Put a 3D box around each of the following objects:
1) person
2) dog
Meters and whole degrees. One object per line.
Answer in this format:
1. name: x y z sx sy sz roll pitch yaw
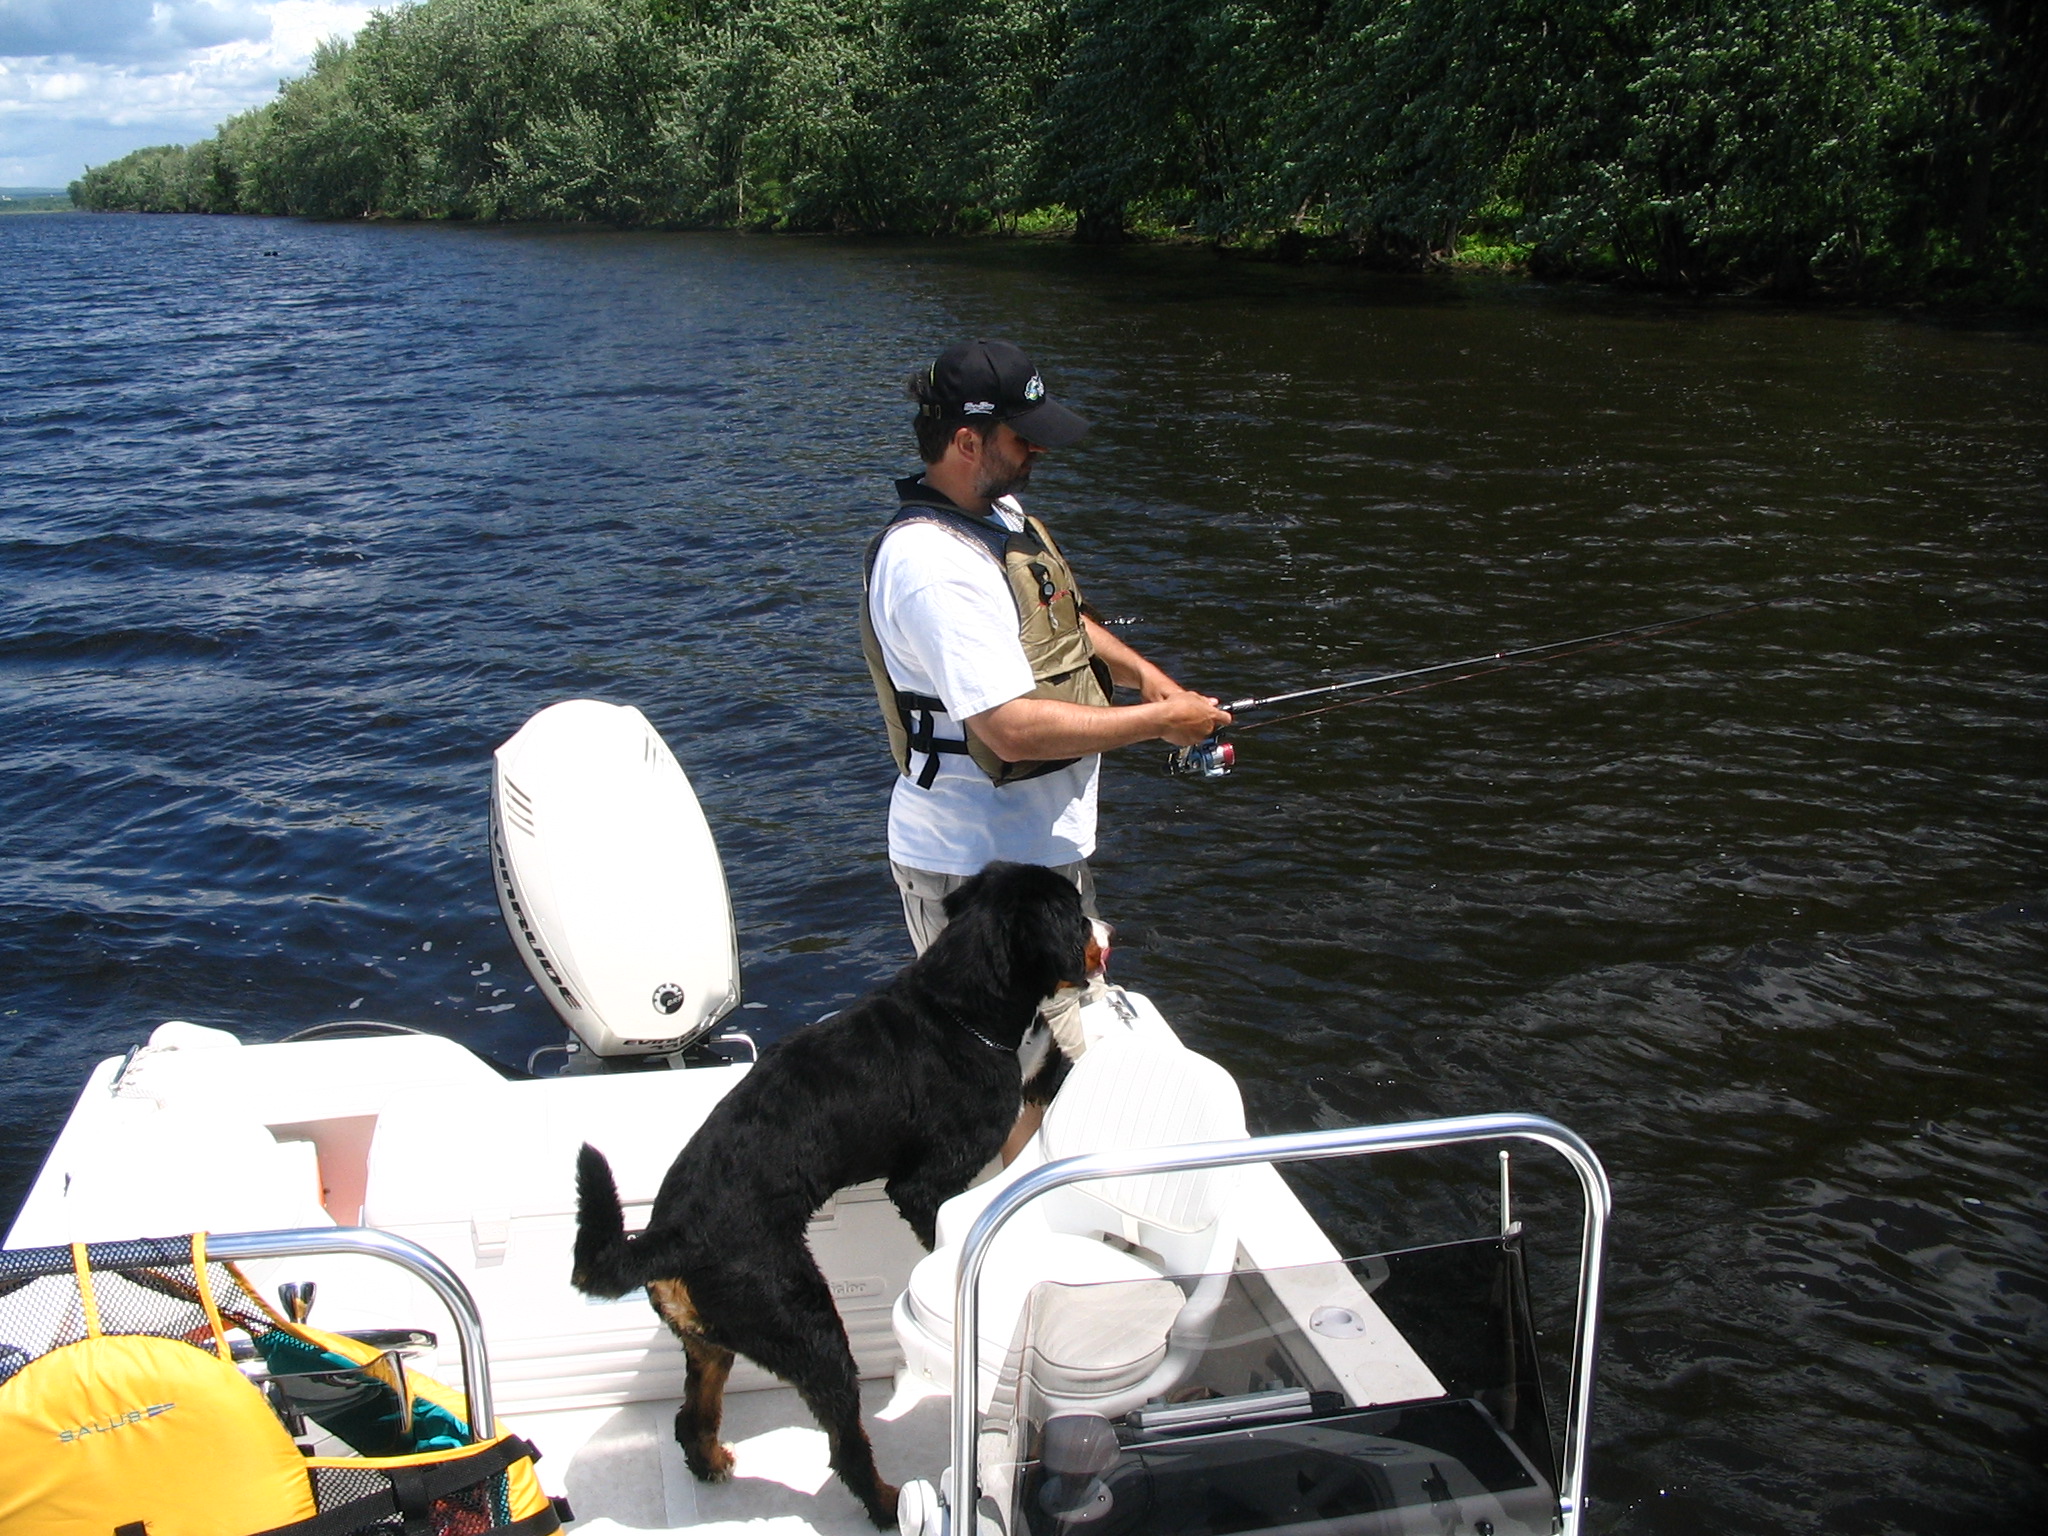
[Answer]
1. person: 0.061 -0.128 6.204 1.386 2.208 0.972 0 7 -1
2. dog: -0.454 1.159 5.498 0.692 1.603 1.368 13 25 40
